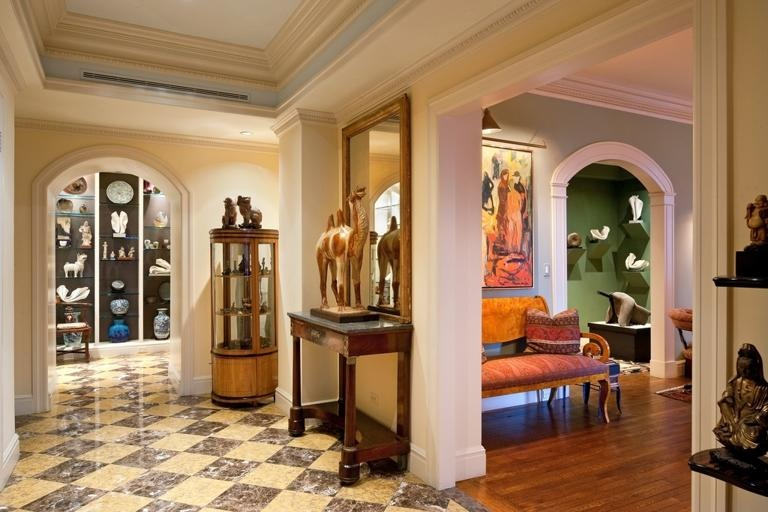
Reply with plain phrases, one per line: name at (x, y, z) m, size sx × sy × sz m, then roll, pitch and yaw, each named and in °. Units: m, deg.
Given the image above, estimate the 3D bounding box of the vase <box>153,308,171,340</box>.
vase at (-3.857, 1.190, 9.117) m, size 0.229 × 0.507 × 0.273 m, roll -2°, pitch 6°, yaw -19°

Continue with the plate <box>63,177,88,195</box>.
plate at (-5.057, -1.141, 8.618) m, size 0.360 × 0.285 × 0.187 m, roll -3°, pitch 7°, yaw -29°

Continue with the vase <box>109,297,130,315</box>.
vase at (-4.437, 0.859, 8.837) m, size 0.257 × 0.250 × 0.272 m, roll 1°, pitch 5°, yaw -40°

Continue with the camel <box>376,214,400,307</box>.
camel at (0.048, 0.079, 4.995) m, size 0.216 × 0.798 × 0.151 m, roll 1°, pitch 4°, yaw -31°

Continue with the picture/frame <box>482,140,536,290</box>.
picture/frame at (1.488, -0.481, 6.357) m, size 0.739 × 1.831 × 0.074 m, roll 3°, pitch 1°, yaw -28°

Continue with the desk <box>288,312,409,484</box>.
desk at (-0.392, 1.285, 5.181) m, size 0.786 × 1.317 × 1.464 m, roll 0°, pitch 1°, yaw -26°

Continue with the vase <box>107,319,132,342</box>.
vase at (-4.417, 1.249, 8.874) m, size 0.353 × 0.475 × 0.367 m, roll 0°, pitch 1°, yaw -3°

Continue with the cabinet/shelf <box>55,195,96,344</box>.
cabinet/shelf at (-4.989, 0.006, 8.520) m, size 0.521 × 3.062 × 0.432 m, roll 0°, pitch 2°, yaw -34°

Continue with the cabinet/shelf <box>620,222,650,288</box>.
cabinet/shelf at (4.554, 0.005, 9.523) m, size 0.437 × 1.213 × 0.786 m, roll 3°, pitch 6°, yaw 24°

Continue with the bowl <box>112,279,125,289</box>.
bowl at (-4.515, 0.508, 8.927) m, size 0.208 × 0.177 × 0.107 m, roll -3°, pitch 7°, yaw -29°

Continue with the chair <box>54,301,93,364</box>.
chair at (-4.904, 1.185, 8.342) m, size 0.508 × 0.929 × 0.755 m, roll -3°, pitch 7°, yaw -30°

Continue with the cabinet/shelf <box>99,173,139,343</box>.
cabinet/shelf at (-4.527, 0.009, 8.941) m, size 0.510 × 3.020 × 0.333 m, roll 1°, pitch -1°, yaw -22°

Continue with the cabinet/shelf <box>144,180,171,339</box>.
cabinet/shelf at (-3.959, 0.084, 9.116) m, size 0.492 × 2.709 × 0.569 m, roll -3°, pitch 6°, yaw -24°

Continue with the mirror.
mirror at (-0.056, -0.410, 5.033) m, size 0.132 × 2.233 × 1.351 m, roll 1°, pitch -2°, yaw -29°

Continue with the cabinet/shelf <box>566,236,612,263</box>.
cabinet/shelf at (3.681, -0.082, 9.468) m, size 1.045 × 0.435 × 0.409 m, roll -4°, pitch -10°, yaw -25°

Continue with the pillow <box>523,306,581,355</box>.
pillow at (1.972, 0.867, 6.195) m, size 0.654 × 0.480 × 0.450 m, roll 4°, pitch 3°, yaw 5°

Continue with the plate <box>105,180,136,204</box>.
plate at (-4.481, -1.070, 8.933) m, size 0.392 × 0.388 × 0.104 m, roll -7°, pitch 10°, yaw -27°
